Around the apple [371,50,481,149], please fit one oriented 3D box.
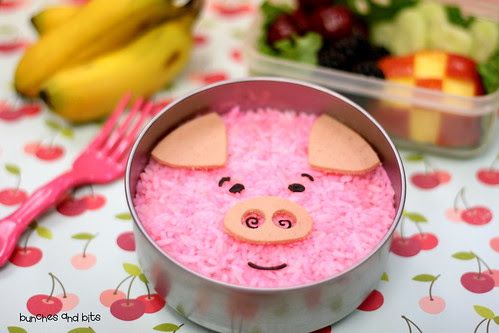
[{"bbox_3d":[0.541,-0.281,1.593,0.391,0.220,0.242,16,42,27],"label":"apple"}]
